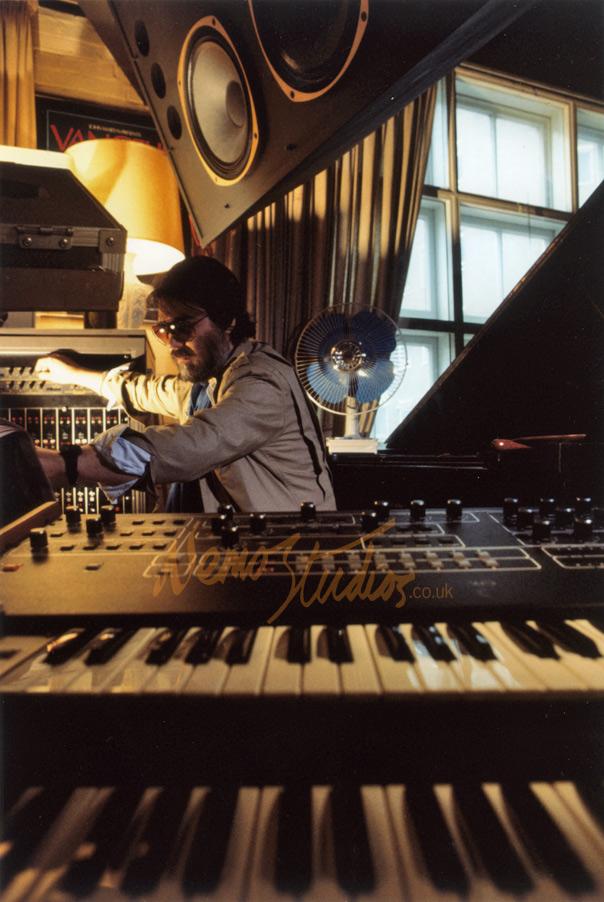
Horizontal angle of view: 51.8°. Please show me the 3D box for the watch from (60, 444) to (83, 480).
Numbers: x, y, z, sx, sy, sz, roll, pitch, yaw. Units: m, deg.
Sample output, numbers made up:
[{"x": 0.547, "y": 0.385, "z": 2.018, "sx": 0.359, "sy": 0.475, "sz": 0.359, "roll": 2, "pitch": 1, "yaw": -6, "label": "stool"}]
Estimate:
[{"x": -0.381, "y": 0.024, "z": 1.030, "sx": 0.028, "sy": 0.070, "sz": 0.062, "roll": -2, "pitch": 8, "yaw": -15, "label": "watch"}]

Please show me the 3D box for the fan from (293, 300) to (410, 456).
[{"x": 0.171, "y": -0.270, "z": 2.369, "sx": 0.435, "sy": 0.546, "sz": 0.280, "roll": 3, "pitch": -8, "yaw": -8, "label": "fan"}]

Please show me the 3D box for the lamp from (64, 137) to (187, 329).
[{"x": -0.588, "y": -0.791, "z": 2.341, "sx": 0.360, "sy": 0.554, "sz": 0.361, "roll": -10, "pitch": 27, "yaw": -16, "label": "lamp"}]
